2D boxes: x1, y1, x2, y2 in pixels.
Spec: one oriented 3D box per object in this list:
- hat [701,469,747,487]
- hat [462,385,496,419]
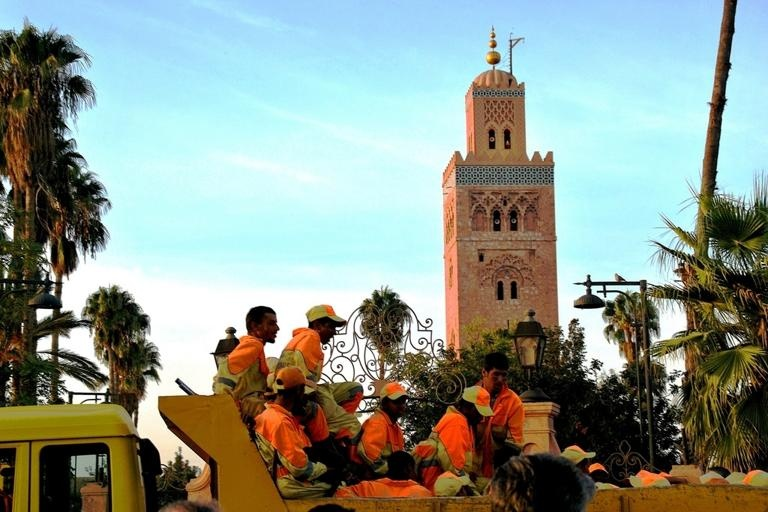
[{"bbox_3d":[5.414,3.565,21.731,0.435,0.192,0.466,0,-9,1],"label":"hat"},{"bbox_3d":[1.624,2.455,23.103,0.562,0.319,0.383,27,11,12],"label":"hat"}]
